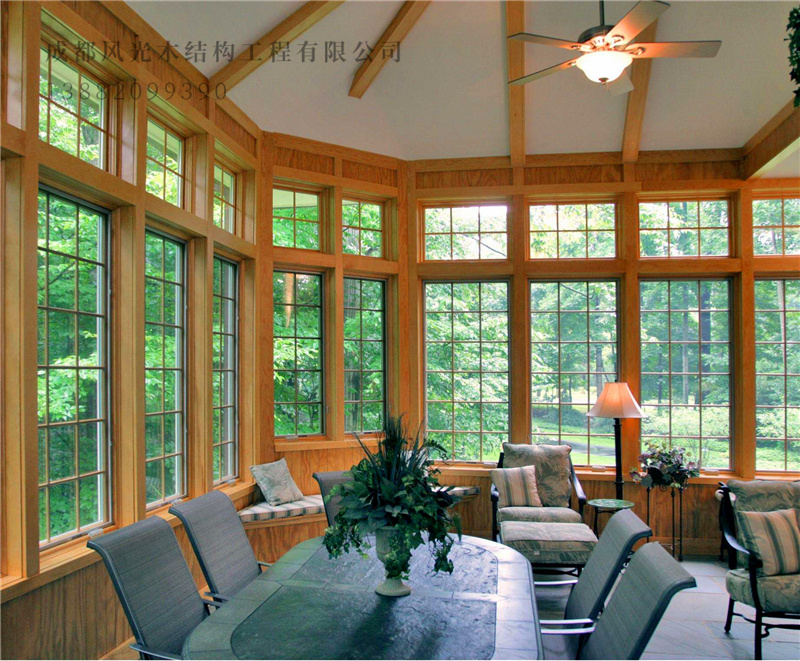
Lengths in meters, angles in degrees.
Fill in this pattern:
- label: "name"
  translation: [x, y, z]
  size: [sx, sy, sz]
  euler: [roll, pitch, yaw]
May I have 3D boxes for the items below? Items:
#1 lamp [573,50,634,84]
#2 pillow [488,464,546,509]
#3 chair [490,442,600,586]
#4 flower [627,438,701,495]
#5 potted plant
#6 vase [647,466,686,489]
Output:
- label: "lamp"
  translation: [1.312, -1.702, 4.467]
  size: [0.288, 0.080, 0.245]
  euler: [1, -5, -8]
- label: "pillow"
  translation: [1.057, 1.399, 6.167]
  size: [0.448, 0.313, 0.111]
  euler: [0, -27, -4]
- label: "chair"
  translation: [1.221, 1.576, 6.019]
  size: [0.850, 0.850, 1.171]
  euler: [1, 14, 0]
- label: "flower"
  translation: [2.423, 1.312, 6.401]
  size: [0.741, 0.352, 0.578]
  euler: [1, 3, -7]
- label: "potted plant"
  translation: [-0.014, 0.900, 3.669]
  size: [0.738, 0.811, 0.807]
  euler: [-8, -16, 32]
- label: "vase"
  translation: [2.420, 1.327, 6.201]
  size: [0.333, 0.191, 0.099]
  euler: [1, 5, 11]
